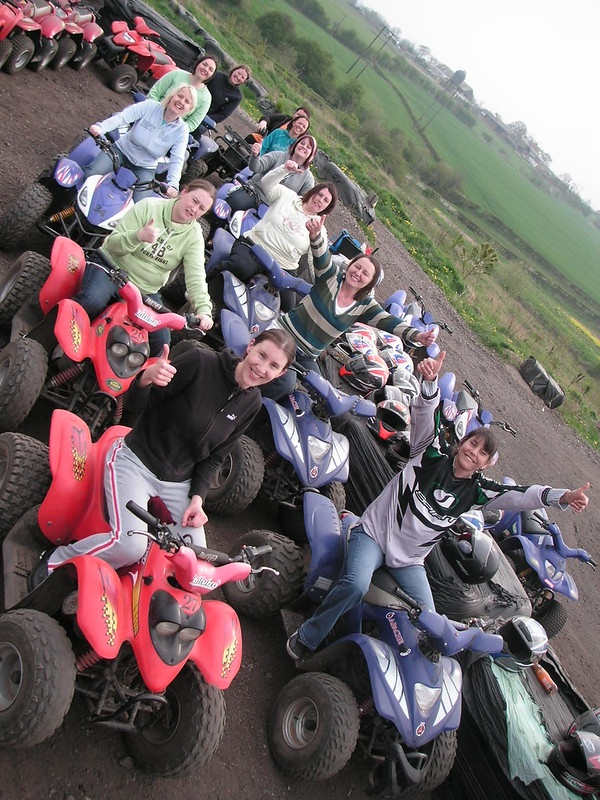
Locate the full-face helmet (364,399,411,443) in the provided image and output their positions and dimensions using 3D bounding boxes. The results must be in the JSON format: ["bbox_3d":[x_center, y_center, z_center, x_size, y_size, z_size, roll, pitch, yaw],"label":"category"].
[{"bbox_3d":[0.959,0.240,5.973,0.383,0.446,0.501,43,12,-10],"label":"full-face helmet"}]

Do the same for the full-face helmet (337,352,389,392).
[{"bbox_3d":[0.665,-0.290,5.988,0.498,0.371,0.393,3,2,-1],"label":"full-face helmet"}]

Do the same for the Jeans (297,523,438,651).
[{"bbox_3d":[0.417,1.278,3.692,0.564,0.634,1.045,44,36,-37],"label":"Jeans"}]

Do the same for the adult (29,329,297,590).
[{"bbox_3d":[-0.248,0.096,3.402,0.851,0.987,1.885,11,28,18],"label":"adult"}]

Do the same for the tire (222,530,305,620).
[{"bbox_3d":[-0.274,1.291,4.092,0.296,0.630,0.626,29,64,-31],"label":"tire"}]

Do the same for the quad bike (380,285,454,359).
[{"bbox_3d":[1.684,-1.315,8.946,1.298,0.801,0.872,16,33,-16],"label":"quad bike"}]

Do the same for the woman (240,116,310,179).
[{"bbox_3d":[-0.442,-3.821,7.933,0.334,1.101,0.377,-40,112,-35],"label":"woman"}]

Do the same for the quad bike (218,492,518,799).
[{"bbox_3d":[0.366,1.273,4.043,1.355,1.548,2.410,43,18,-41],"label":"quad bike"}]

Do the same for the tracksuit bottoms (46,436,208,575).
[{"bbox_3d":[-0.829,0.548,2.931,0.441,1.172,0.727,5,50,-7],"label":"tracksuit bottoms"}]

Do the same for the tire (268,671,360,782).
[{"bbox_3d":[0.054,1.971,3.329,0.196,0.564,0.570,39,50,-32],"label":"tire"}]

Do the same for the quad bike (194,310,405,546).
[{"bbox_3d":[-0.167,0.048,5.400,1.426,1.379,2.233,27,30,-23],"label":"quad bike"}]

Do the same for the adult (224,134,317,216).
[{"bbox_3d":[-0.192,-2.853,6.975,0.776,0.825,1.333,32,32,1],"label":"adult"}]

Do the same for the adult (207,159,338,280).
[{"bbox_3d":[-0.158,-1.810,5.700,0.845,0.926,1.476,44,31,-24],"label":"adult"}]

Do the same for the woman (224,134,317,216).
[{"bbox_3d":[-0.210,-2.865,7.027,0.776,0.825,1.333,32,32,1],"label":"woman"}]

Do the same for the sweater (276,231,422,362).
[{"bbox_3d":[0.366,-0.885,5.097,0.937,0.880,1.543,61,15,-17],"label":"sweater"}]

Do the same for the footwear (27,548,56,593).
[{"bbox_3d":[-1.142,0.764,2.457,0.054,0.063,0.162,26,61,-12],"label":"footwear"}]
